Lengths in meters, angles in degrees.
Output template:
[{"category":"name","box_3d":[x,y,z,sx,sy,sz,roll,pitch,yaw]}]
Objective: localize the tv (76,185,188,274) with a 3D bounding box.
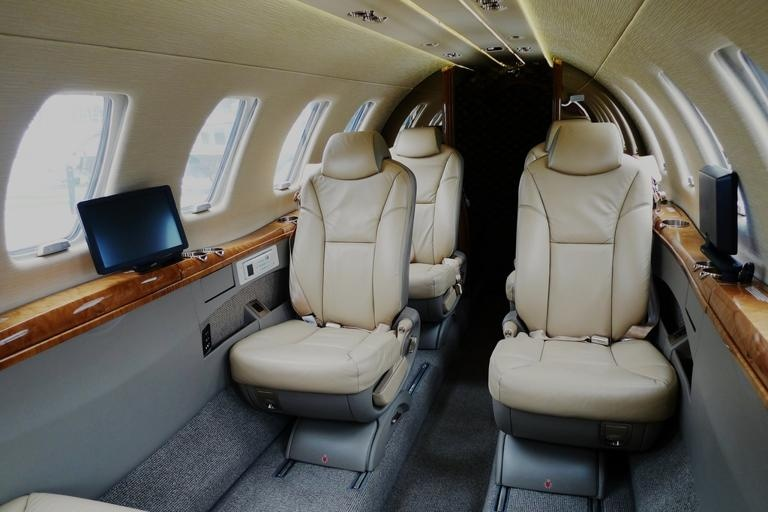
[{"category":"tv","box_3d":[-1.356,-0.139,2.522,0.050,0.417,0.573,-4,14,25]}]
